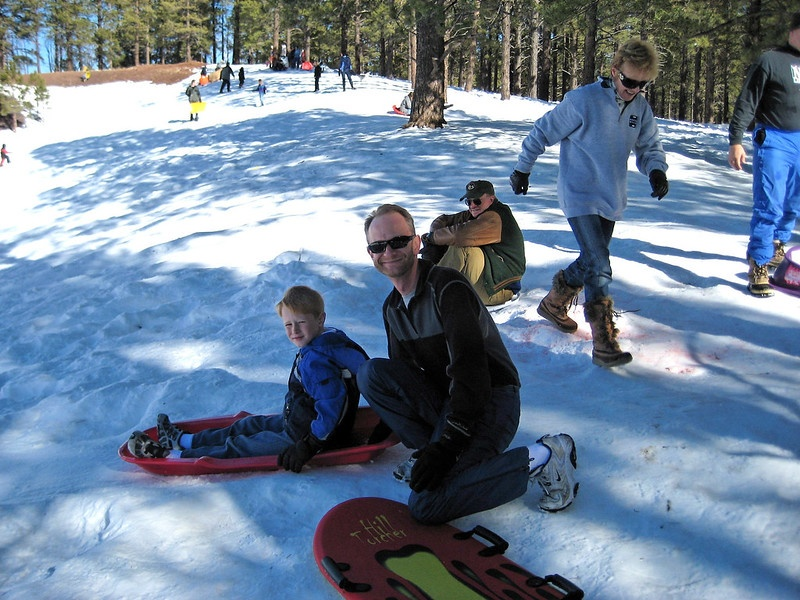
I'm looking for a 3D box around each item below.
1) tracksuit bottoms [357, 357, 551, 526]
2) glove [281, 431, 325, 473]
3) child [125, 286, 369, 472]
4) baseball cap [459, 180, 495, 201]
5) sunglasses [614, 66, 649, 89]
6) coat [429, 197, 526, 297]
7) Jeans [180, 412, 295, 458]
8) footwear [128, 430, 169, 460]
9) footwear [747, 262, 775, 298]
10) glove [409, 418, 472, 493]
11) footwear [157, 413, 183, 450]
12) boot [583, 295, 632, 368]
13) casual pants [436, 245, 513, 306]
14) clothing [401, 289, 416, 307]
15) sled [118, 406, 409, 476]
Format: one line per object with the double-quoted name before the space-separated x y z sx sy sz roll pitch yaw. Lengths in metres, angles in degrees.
"tracksuit bottoms" 0.230 0.841 3.378 0.582 0.275 0.835 -20 27 -15
"glove" -0.548 0.866 3.502 0.246 0.223 0.112 -5 22 -16
"child" -0.953 0.495 3.886 1.668 0.935 0.872 -9 2 -1
"baseball cap" 0.653 -0.888 5.144 0.292 0.125 0.185 -6 6 -25
"sunglasses" 1.578 -1.518 4.369 0.183 0.052 0.154 5 51 -14
"coat" 0.601 -0.372 5.268 0.882 0.703 0.585 1 2 -14
"Jeans" -0.932 0.823 3.728 0.527 0.088 0.302 -5 16 0
"footwear" -1.470 0.851 3.670 0.101 0.112 0.255 -2 -17 41
"footwear" 3.188 -0.190 5.543 0.170 0.304 0.494 -4 2 30
"glove" 0.213 0.745 3.109 0.270 0.135 0.407 17 50 40
"footwear" -1.398 0.799 3.773 0.137 0.259 0.095 -9 -10 4
"boot" 1.498 0.222 4.534 0.210 0.502 0.346 -14 26 -34
"casual pants" 0.658 -0.191 5.175 0.662 0.228 0.376 23 -5 -6
"clothing" 0.040 -0.008 3.331 0.069 0.070 0.090 -24 -9 21
"sled" -0.802 0.898 3.617 1.375 0.159 0.563 -1 4 -4
